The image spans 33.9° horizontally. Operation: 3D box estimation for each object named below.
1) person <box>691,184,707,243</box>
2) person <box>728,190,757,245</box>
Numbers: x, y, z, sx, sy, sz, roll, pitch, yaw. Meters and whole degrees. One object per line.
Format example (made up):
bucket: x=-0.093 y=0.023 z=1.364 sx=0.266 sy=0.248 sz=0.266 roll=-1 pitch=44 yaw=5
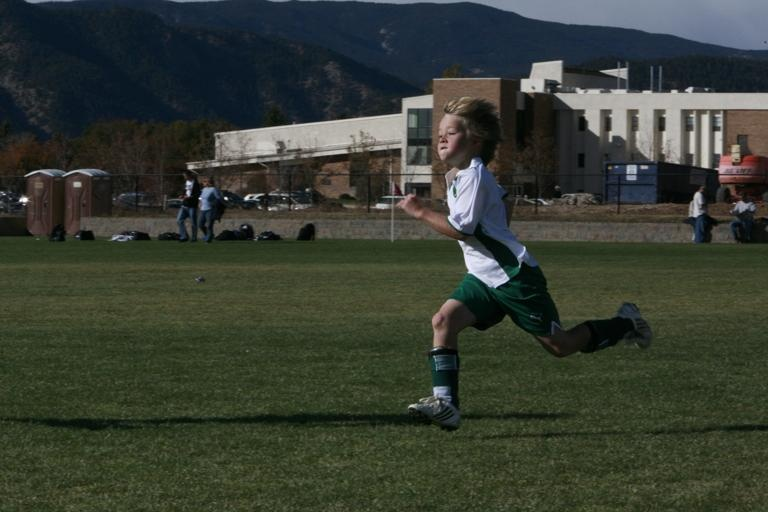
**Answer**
person: x=8.967 y=-1.168 z=35.768 sx=0.570 sy=1.708 sz=1.330 roll=3 pitch=14 yaw=13
person: x=10.147 y=-1.111 z=35.609 sx=0.648 sy=1.377 sz=0.964 roll=4 pitch=14 yaw=15
